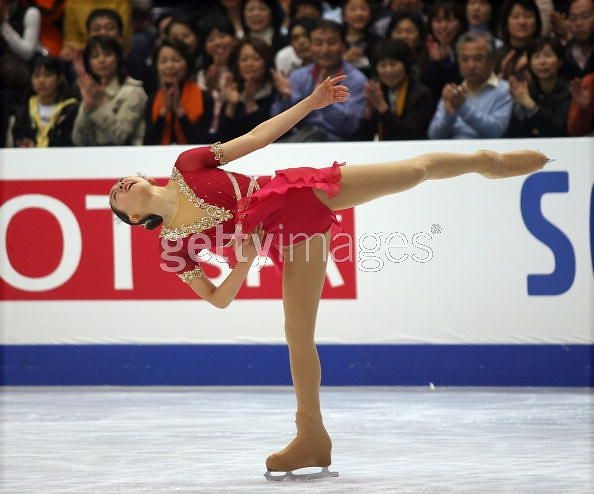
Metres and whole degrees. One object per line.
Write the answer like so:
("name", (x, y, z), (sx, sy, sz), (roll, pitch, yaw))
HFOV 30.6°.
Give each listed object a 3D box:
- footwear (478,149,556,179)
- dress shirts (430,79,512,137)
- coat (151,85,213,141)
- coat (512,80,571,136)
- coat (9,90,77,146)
("footwear", (1.213, -0.466, 6.115), (0.630, 0.179, 0.143), (-2, -10, -27))
("dress shirts", (1.156, -0.901, 7.112), (0.303, 0.328, 0.211), (-20, -23, 31))
("coat", (-0.776, -0.881, 7.133), (0.431, 0.376, 0.158), (-1, 3, 0))
("coat", (1.599, -0.866, 7.066), (0.405, 0.354, 0.145), (-1, -6, 8))
("coat", (-1.701, -0.866, 7.311), (0.399, 0.364, 0.152), (-2, 6, 11))
